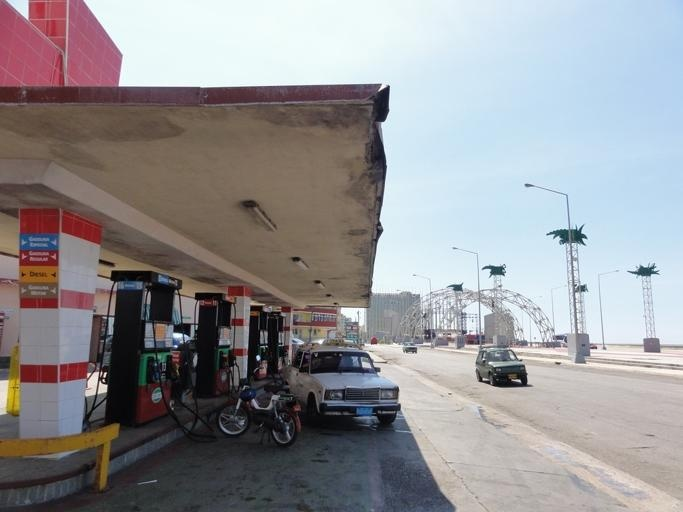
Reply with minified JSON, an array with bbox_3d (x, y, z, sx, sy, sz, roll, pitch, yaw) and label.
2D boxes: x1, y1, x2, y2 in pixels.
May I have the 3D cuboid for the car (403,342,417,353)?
[{"bbox_3d":[8.659,11.919,61.136,1.006,0.882,2.075,0,-14,-3],"label":"car"}]

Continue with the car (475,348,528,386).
[{"bbox_3d":[7.223,5.029,21.591,1.807,1.686,2.405,-2,-12,6],"label":"car"}]

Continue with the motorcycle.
[{"bbox_3d":[-1.729,3.422,10.265,2.079,1.266,0.534,-8,-13,30],"label":"motorcycle"}]
